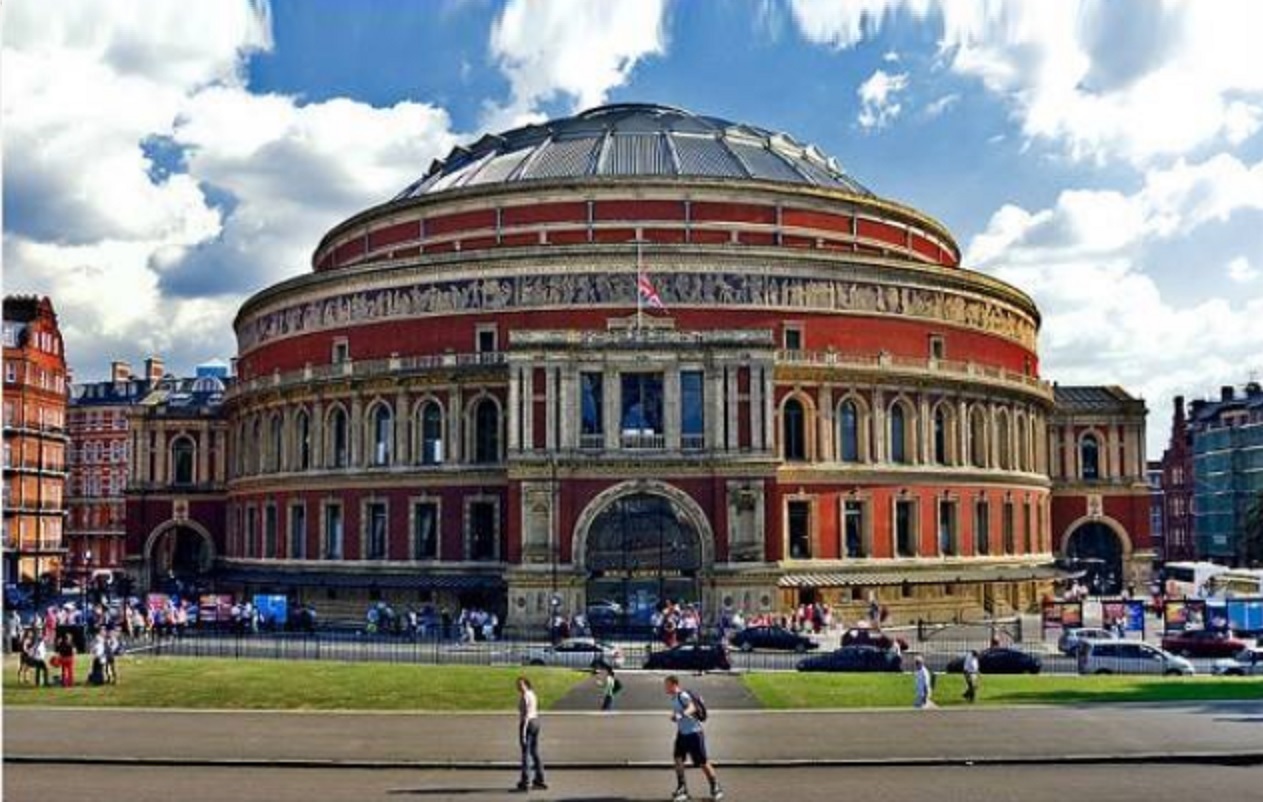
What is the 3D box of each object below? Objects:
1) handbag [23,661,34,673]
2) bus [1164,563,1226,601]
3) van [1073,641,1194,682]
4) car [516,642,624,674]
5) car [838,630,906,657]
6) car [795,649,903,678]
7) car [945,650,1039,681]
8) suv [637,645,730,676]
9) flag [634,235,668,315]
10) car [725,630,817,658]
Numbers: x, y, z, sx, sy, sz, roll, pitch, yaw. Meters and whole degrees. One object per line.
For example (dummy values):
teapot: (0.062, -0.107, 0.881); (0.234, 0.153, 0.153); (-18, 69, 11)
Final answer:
handbag: (-35.410, 15.293, 139.714); (0.564, 0.515, 0.541); (-3, -7, 22)
bus: (44.183, 14.492, 190.815); (3.413, 3.180, 9.258); (0, -9, -5)
van: (30.966, 15.970, 147.265); (5.168, 2.091, 2.963); (-3, -6, 6)
car: (-3.666, 15.777, 148.008); (5.303, 1.673, 2.342); (2, -9, 0)
car: (15.245, 15.261, 151.699); (3.872, 1.307, 1.713); (-3, -5, 8)
car: (13.333, 16.009, 146.605); (5.225, 1.604, 2.390); (2, -8, 1)
car: (22.413, 16.084, 146.785); (4.683, 1.505, 2.168); (2, -7, 5)
suv: (3.359, 15.916, 147.355); (4.339, 1.348, 2.134); (1, -8, 6)
flag: (1.037, -8.359, 162.438); (1.647, 4.740, 3.656); (0, 11, 0)
car: (8.768, 15.314, 152.586); (4.581, 1.337, 2.026); (-2, -9, 7)
